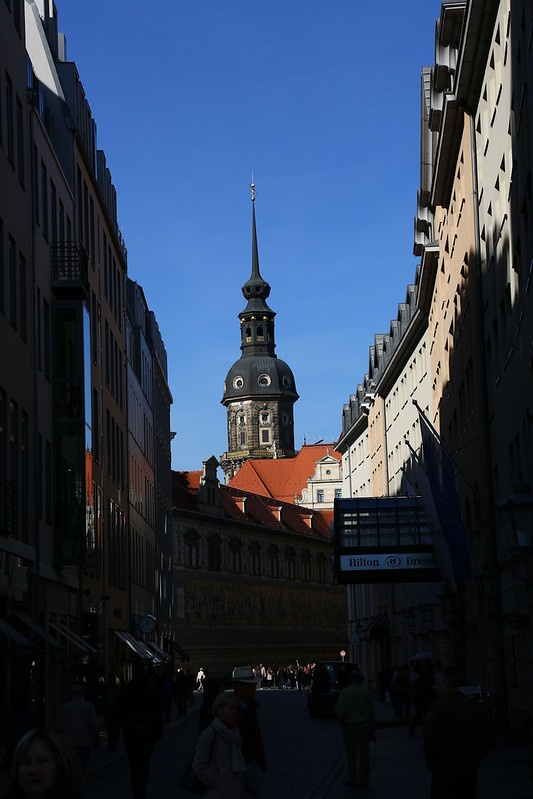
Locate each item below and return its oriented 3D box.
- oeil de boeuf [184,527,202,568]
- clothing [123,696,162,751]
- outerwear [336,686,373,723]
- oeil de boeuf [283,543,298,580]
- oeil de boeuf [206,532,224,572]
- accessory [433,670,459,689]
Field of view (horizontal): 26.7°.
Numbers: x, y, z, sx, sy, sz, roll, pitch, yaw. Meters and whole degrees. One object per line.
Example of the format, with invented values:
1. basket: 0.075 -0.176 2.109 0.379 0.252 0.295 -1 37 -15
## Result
1. oeil de boeuf: -5.589 11.192 83.922 0.152 3.574 1.859 -4 -10 17
2. clothing: -1.421 3.744 12.802 0.399 0.566 0.787 2 7 0
3. outerwear: 1.149 4.037 14.818 0.487 0.547 0.425 -9 -18 6
4. oeil de boeuf: 2.140 15.071 103.817 0.170 3.581 2.190 -5 -12 18
5. oeil de boeuf: -4.106 12.029 87.780 0.145 3.681 1.984 -4 -10 18
6. accessory: 1.354 2.129 8.492 0.150 0.174 0.193 -12 -20 14
